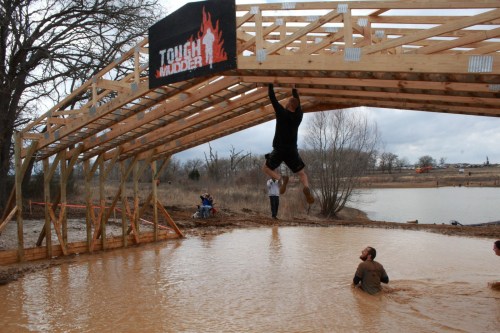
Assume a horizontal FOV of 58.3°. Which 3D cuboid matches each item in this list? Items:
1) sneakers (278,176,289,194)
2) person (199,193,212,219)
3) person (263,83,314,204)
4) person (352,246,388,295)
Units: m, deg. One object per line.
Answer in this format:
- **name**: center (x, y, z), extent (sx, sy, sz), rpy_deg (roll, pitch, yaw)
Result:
- **sneakers**: center (0.804, 0.461, 10.611), extent (0.214, 0.480, 0.173), rpy_deg (17, 17, 32)
- **person**: center (-2.080, 1.828, 21.250), extent (0.617, 1.084, 0.875), rpy_deg (0, 3, -7)
- **person**: center (0.889, -0.577, 10.446), extent (1.102, 2.855, 1.275), rpy_deg (1, 3, 4)
- **person**: center (3.019, 2.653, 11.225), extent (1.073, 1.384, 0.826), rpy_deg (1, -6, 6)
